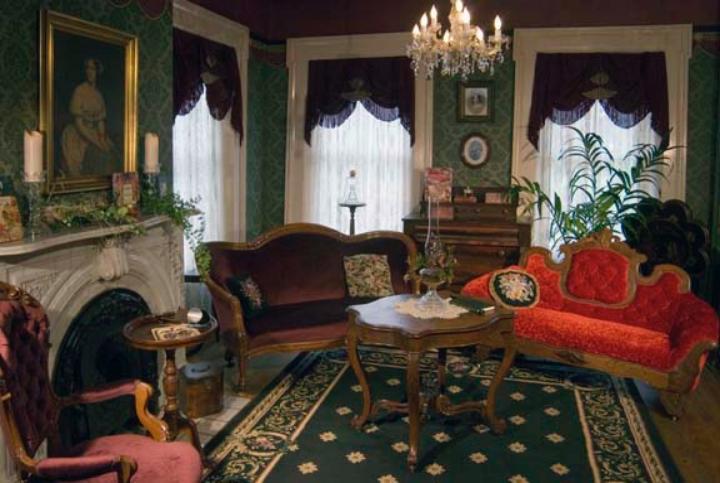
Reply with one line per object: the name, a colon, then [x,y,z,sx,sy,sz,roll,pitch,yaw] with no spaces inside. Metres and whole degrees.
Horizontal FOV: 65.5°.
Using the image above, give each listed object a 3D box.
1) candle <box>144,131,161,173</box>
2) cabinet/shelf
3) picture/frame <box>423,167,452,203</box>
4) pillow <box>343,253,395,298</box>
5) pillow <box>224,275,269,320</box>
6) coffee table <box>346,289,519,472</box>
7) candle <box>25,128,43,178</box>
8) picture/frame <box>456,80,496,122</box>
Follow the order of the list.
candle: [-2.131,-0.913,5.712,0.170,0.437,0.311,-6,6,-20]
cabinet/shelf: [1.545,-0.147,7.956,1.983,2.077,1.214,-1,-1,11]
picture/frame: [1.083,-0.785,7.777,0.450,0.383,0.053,-9,2,-14]
pillow: [0.110,0.429,6.922,0.512,0.524,0.163,-2,-9,-2]
pillow: [-1.235,0.599,6.217,0.413,0.455,0.250,-9,8,-42]
coffee table: [0.632,1.057,5.285,1.235,1.161,1.478,4,6,26]
candle: [-2.660,-0.692,4.546,0.155,0.410,0.067,-7,6,-28]
picture/frame: [1.691,-2.055,8.043,0.551,0.618,0.081,0,2,4]
